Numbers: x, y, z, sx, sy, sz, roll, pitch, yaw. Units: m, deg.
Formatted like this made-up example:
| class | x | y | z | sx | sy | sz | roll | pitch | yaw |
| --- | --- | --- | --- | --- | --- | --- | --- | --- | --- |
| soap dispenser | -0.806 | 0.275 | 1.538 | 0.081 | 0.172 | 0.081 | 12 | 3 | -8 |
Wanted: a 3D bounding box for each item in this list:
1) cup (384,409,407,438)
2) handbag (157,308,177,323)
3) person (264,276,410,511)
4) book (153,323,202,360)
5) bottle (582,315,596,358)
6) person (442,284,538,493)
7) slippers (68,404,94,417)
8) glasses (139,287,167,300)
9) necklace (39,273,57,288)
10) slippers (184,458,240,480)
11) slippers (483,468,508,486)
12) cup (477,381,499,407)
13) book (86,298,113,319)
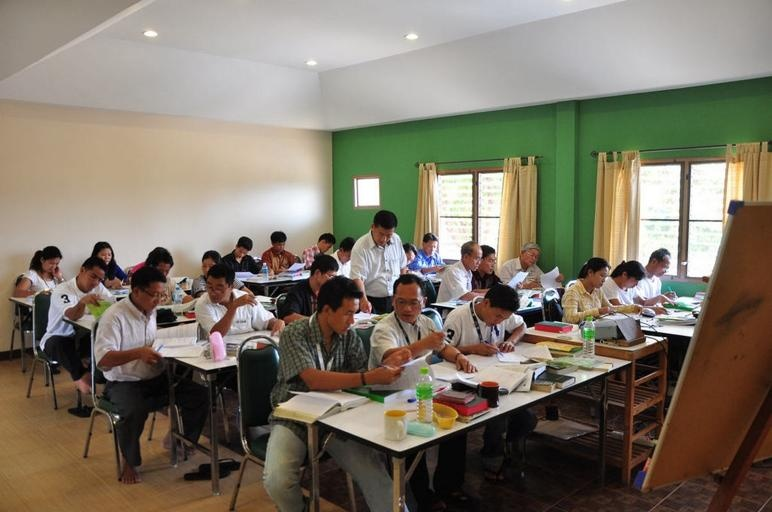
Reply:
| class | x | y | z | sx | sy | sz | roll | pitch | yaw |
| --- | --- | --- | --- | --- | --- | --- | --- | --- | --- |
| cup | 0.047 | 0.848 | 2.696 | 0.088 | 0.091 | 0.136 | 0 | 9 | 0 |
| handbag | -2.089 | 0.532 | 5.043 | 0.168 | 0.114 | 0.122 | 0 | 11 | -24 |
| person | -0.315 | 0.797 | 3.017 | 0.774 | 1.320 | 0.595 | -3 | 9 | -13 |
| book | -1.572 | 0.625 | 4.013 | 0.233 | 0.101 | 0.340 | -2 | 15 | -22 |
| bottle | 1.483 | 0.595 | 3.883 | 0.089 | 0.239 | 0.254 | 3 | 9 | 21 |
| person | 0.793 | 0.945 | 4.019 | 0.744 | 1.375 | 0.741 | 0 | 2 | -19 |
| slippers | -2.912 | 1.489 | 5.086 | 0.239 | 0.058 | 0.154 | 7 | 8 | 34 |
| glasses | -1.730 | 0.273 | 3.923 | 0.147 | 0.044 | 0.143 | 12 | 7 | 25 |
| necklace | -4.205 | 0.303 | 6.583 | 0.103 | 0.176 | 0.186 | -1 | 0 | 28 |
| slippers | -1.321 | 1.623 | 4.008 | 0.314 | 0.064 | 0.159 | 0 | -1 | -14 |
| slippers | 0.795 | 1.615 | 3.876 | 0.090 | 0.044 | 0.124 | 3 | 3 | 17 |
| cup | 0.579 | 0.794 | 3.053 | 0.088 | 0.116 | 0.138 | 0 | -3 | 2 |
| book | -2.424 | 0.444 | 4.482 | 0.208 | 0.205 | 0.079 | -24 | 7 | 26 |
